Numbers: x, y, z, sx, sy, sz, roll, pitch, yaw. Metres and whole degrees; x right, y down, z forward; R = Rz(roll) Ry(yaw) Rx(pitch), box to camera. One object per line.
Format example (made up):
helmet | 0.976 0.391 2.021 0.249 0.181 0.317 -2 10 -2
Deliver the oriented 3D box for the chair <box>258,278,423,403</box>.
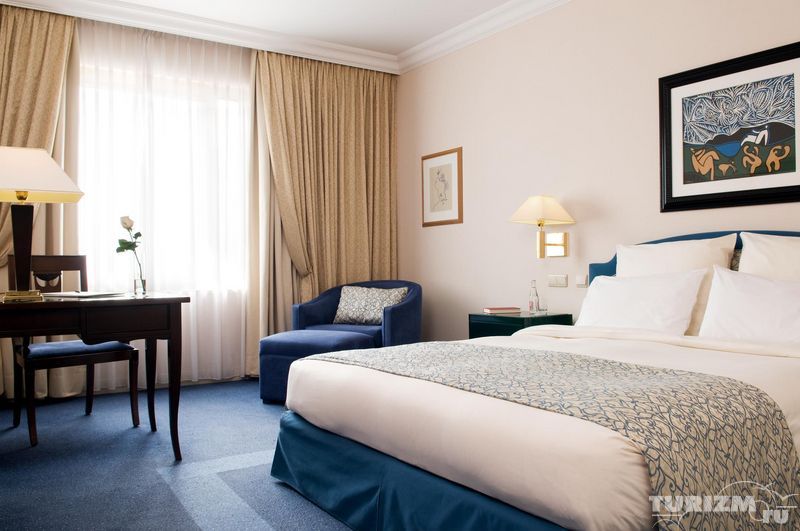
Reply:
chair | -0.543 0.756 5.567 1.227 1.163 1.667 0 -1 25

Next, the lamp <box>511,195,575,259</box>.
lamp | 1.260 -0.289 5.086 0.563 0.682 0.600 3 -4 -31
